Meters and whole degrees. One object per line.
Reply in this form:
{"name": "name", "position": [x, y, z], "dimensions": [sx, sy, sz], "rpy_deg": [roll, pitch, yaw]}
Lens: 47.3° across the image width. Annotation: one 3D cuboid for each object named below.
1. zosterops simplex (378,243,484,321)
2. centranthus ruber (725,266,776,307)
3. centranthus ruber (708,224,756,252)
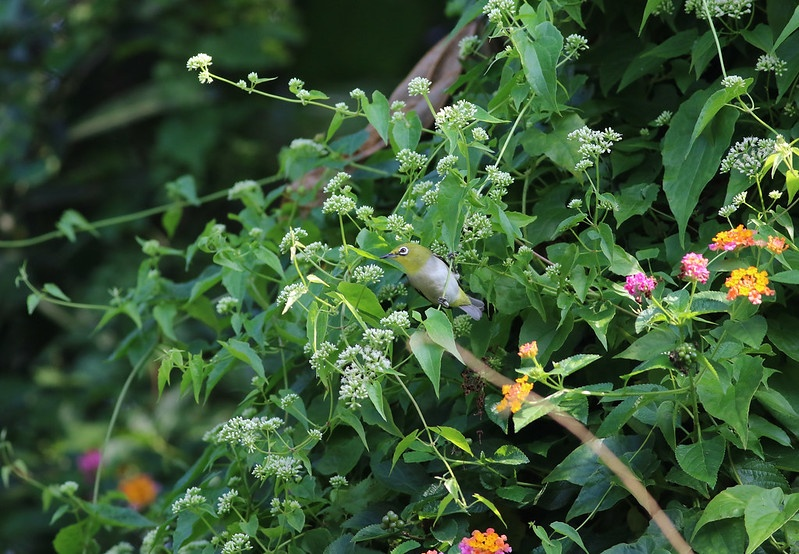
{"name": "zosterops simplex", "position": [0.088, -0.008, 2.105], "dimensions": [0.102, 0.315, 0.140], "rpy_deg": [-15, 74, 45]}
{"name": "centranthus ruber", "position": [0.735, 0.016, 1.918], "dimensions": [0.081, 0.030, 0.092], "rpy_deg": [9, 69, 5]}
{"name": "centranthus ruber", "position": [0.718, -0.081, 1.957], "dimensions": [0.064, 0.034, 0.066], "rpy_deg": [-25, 24, -14]}
